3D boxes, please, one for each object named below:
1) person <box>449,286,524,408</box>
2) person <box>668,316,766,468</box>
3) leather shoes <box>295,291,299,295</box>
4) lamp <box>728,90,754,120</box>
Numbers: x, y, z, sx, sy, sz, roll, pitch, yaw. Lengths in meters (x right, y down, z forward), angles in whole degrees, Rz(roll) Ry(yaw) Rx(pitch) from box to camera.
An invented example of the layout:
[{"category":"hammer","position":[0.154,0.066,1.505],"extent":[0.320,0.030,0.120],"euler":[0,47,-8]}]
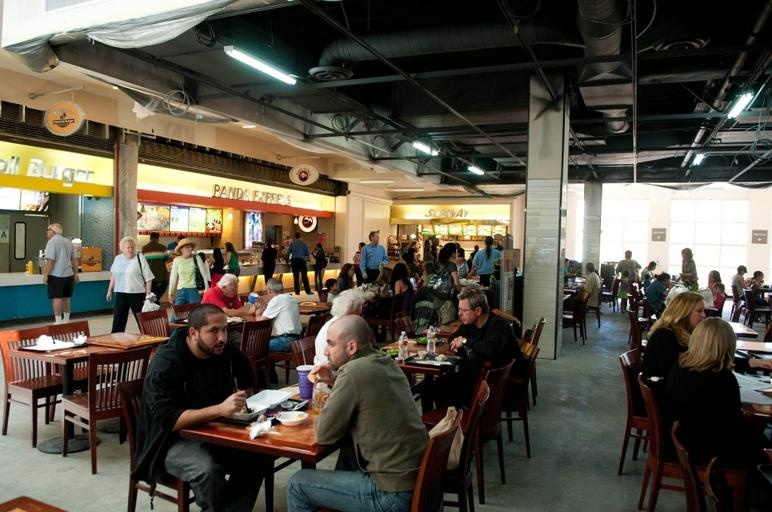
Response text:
[{"category":"person","position":[1.209,1.164,6.573],"extent":[0.861,1.462,0.735],"euler":[-3,6,3]},{"category":"person","position":[3.007,1.245,5.027],"extent":[0.718,1.361,0.349],"euler":[2,0,23]},{"category":"leather shoes","position":[-2.700,1.118,16.505],"extent":[0.104,0.106,0.104],"euler":[2,-2,-15]},{"category":"lamp","position":[6.231,-2.659,9.556],"extent":[0.223,0.179,0.718],"euler":[-4,-11,12]}]
